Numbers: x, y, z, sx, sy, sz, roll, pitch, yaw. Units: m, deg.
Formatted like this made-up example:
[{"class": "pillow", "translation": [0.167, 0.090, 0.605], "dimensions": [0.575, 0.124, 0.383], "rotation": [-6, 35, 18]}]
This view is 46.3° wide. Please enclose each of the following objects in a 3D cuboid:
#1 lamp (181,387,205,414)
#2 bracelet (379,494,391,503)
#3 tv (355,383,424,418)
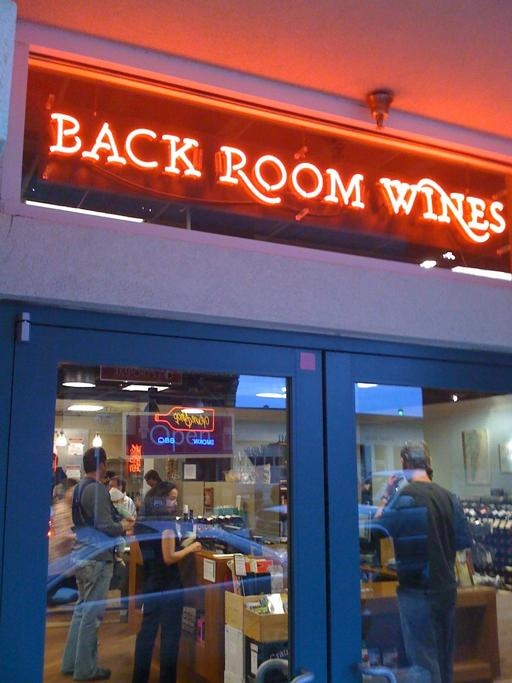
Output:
[{"class": "lamp", "translation": [-0.193, 0.184, 1.889], "dimensions": [0.071, 0.081, 0.074], "rotation": [-3, -9, 20]}, {"class": "bracelet", "translation": [0.459, 0.555, 2.117], "dimensions": [0.016, 0.046, 0.019], "rotation": [20, -27, 34]}, {"class": "tv", "translation": [0.491, 0.214, 2.192], "dimensions": [0.304, 0.113, 0.020], "rotation": [6, -12, -28]}]
